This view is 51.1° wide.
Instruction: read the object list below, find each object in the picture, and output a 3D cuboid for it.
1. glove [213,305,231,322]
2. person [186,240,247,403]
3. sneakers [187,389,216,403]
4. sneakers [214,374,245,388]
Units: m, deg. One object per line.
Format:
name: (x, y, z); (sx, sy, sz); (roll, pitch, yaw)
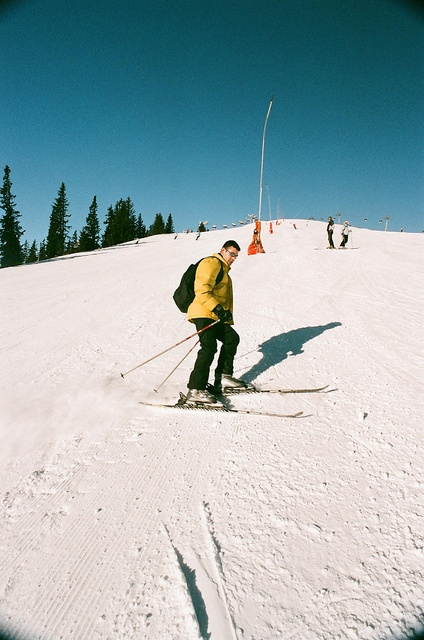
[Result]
glove: (0.095, -0.068, 4.749); (0.119, 0.172, 0.089); (-37, 5, -8)
person: (0.030, -0.024, 4.868); (0.584, 1.643, 1.125); (2, 12, 19)
sneakers: (-0.126, 0.773, 4.568); (0.350, 0.149, 0.123); (2, -2, 2)
sneakers: (0.200, 0.700, 5.038); (0.355, 0.172, 0.129); (-3, -9, 23)
